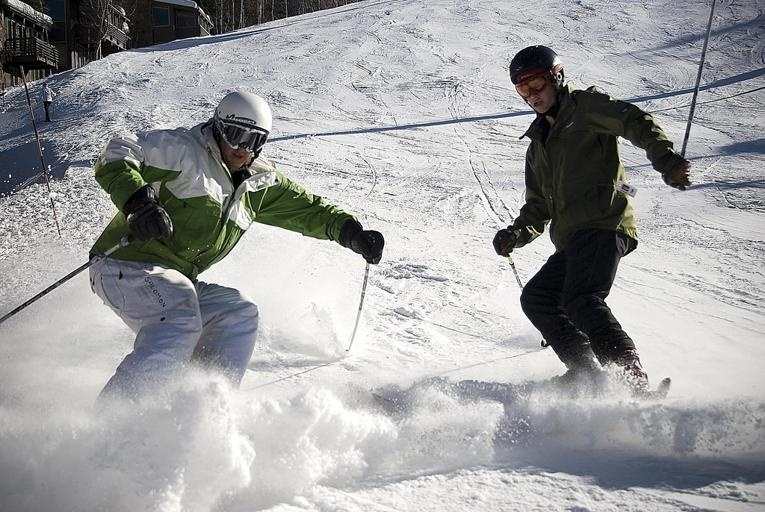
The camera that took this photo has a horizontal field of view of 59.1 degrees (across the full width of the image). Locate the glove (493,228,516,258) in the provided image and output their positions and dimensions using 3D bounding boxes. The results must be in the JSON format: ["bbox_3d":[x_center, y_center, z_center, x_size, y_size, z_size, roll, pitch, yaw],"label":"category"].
[{"bbox_3d":[1.267,-0.130,6.857,0.210,0.285,0.129,36,8,33],"label":"glove"}]

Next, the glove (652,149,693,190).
[{"bbox_3d":[2.427,-0.729,5.686,0.319,0.300,0.229,16,16,43],"label":"glove"}]

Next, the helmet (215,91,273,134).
[{"bbox_3d":[-1.154,-1.199,5.660,0.415,0.352,0.335,20,16,6],"label":"helmet"}]

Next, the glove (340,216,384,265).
[{"bbox_3d":[-0.183,-0.133,6.166,0.451,0.348,0.194,26,0,11],"label":"glove"}]

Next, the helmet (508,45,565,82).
[{"bbox_3d":[1.396,-1.825,6.355,0.420,0.316,0.353,-36,17,-13],"label":"helmet"}]

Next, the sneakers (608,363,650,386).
[{"bbox_3d":[2.118,0.975,5.807,0.287,0.170,0.140,19,41,30],"label":"sneakers"}]

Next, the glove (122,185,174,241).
[{"bbox_3d":[-1.804,-0.318,5.232,0.361,0.417,0.211,-7,-4,-2],"label":"glove"}]
